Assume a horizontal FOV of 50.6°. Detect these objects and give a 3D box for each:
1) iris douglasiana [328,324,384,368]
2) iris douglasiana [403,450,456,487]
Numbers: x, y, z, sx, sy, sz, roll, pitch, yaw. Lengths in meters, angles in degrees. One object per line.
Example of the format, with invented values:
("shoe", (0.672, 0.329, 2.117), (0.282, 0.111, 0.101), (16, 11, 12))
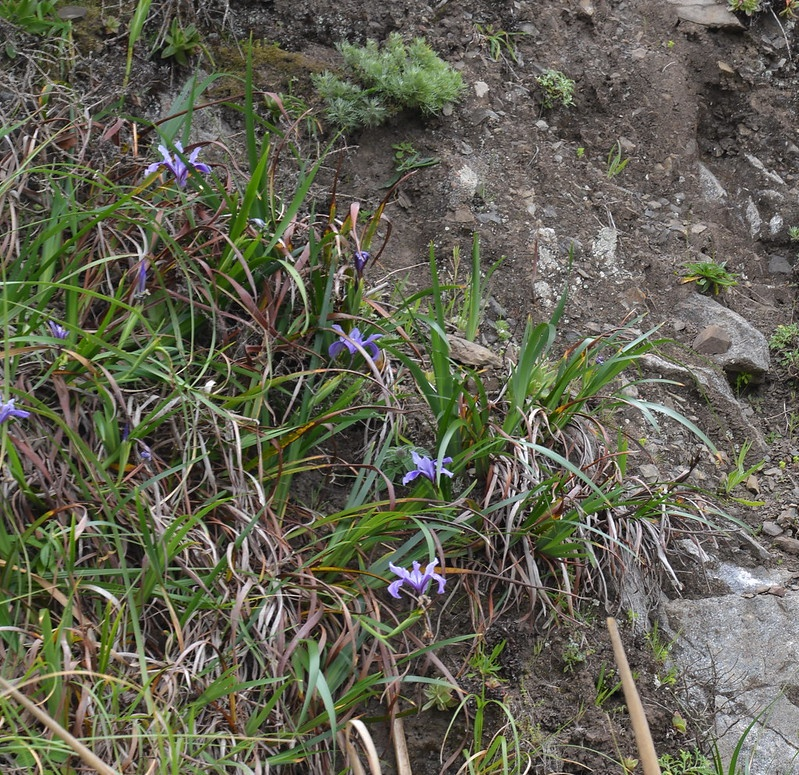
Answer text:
("iris douglasiana", (-0.151, -0.133, 2.774), (0.140, 0.054, 0.137), (20, 35, 19))
("iris douglasiana", (0.084, 0.261, 2.595), (0.128, 0.050, 0.127), (7, 28, 36))
